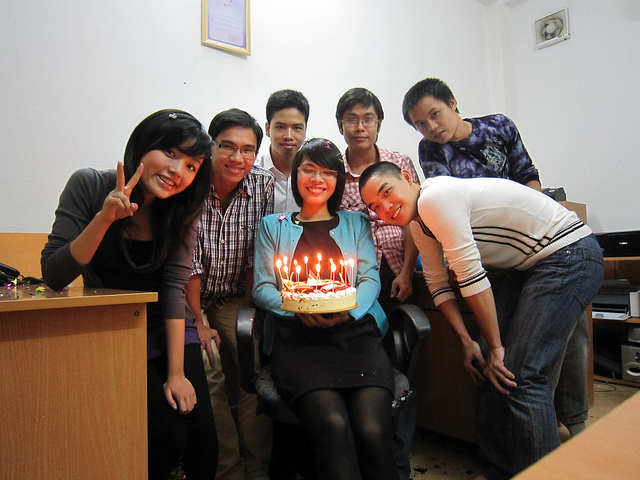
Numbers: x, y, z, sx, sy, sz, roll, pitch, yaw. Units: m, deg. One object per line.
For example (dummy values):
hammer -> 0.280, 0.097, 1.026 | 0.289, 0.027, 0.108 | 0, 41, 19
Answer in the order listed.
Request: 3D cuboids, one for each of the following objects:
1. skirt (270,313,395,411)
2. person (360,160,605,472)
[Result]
skirt -> 0.038, 0.508, 2.018 | 0.516, 0.286, 0.363 | -2, 7, -5
person -> 0.760, 0.297, 2.143 | 0.907, 1.320, 0.539 | 4, 8, 36
